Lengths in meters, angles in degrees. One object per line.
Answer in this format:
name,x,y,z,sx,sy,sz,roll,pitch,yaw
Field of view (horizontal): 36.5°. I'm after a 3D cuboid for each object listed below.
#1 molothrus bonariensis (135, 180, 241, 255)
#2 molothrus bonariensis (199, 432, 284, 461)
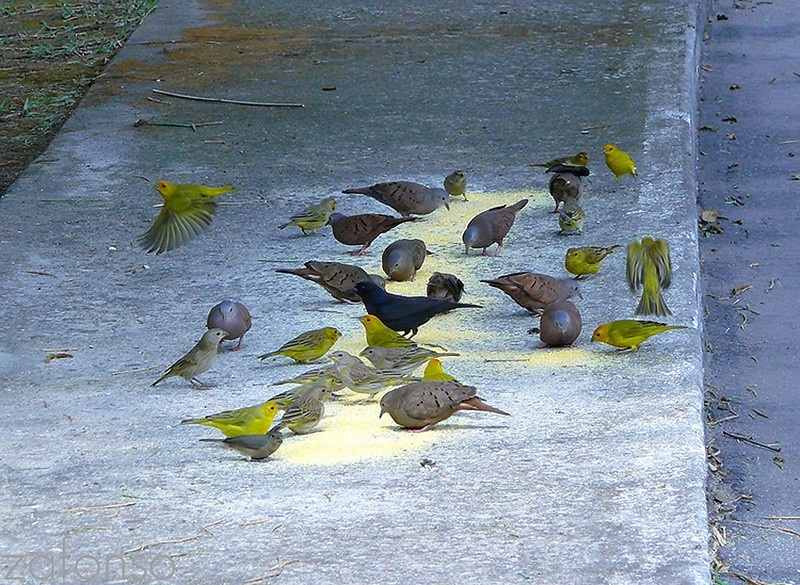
molothrus bonariensis,-1.435,-0.395,7.811,0.661,0.271,0.568,-22,35,21
molothrus bonariensis,-0.737,0.740,5.855,0.348,0.184,0.103,-8,47,0
